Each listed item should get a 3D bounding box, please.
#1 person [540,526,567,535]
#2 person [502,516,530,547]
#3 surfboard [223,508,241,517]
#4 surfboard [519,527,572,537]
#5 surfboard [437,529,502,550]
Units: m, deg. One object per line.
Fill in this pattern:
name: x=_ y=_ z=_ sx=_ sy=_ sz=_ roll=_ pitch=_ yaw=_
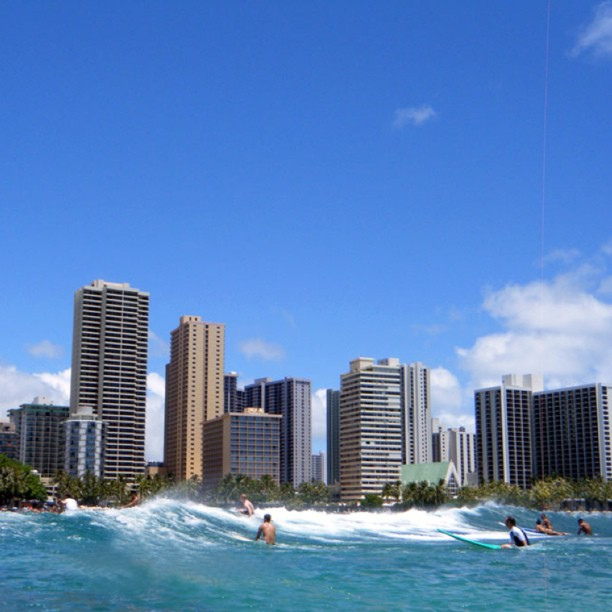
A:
person: x=11.889 y=10.944 z=39.713 sx=1.009 sy=0.410 sz=0.690 roll=-3 pitch=-7 yaw=33
person: x=8.567 y=9.181 z=33.506 sx=0.868 sy=1.250 sz=3.639 roll=-4 pitch=-18 yaw=13
surfboard: x=-3.557 y=10.148 z=40.193 sx=0.592 sy=0.435 sz=1.920 roll=6 pitch=-19 yaw=-20
surfboard: x=11.470 y=10.669 z=38.970 sx=2.120 sy=0.452 sz=6.082 roll=-6 pitch=-19 yaw=16
surfboard: x=7.230 y=10.277 z=35.988 sx=1.467 sy=0.930 sz=6.697 roll=0 pitch=-18 yaw=-1
